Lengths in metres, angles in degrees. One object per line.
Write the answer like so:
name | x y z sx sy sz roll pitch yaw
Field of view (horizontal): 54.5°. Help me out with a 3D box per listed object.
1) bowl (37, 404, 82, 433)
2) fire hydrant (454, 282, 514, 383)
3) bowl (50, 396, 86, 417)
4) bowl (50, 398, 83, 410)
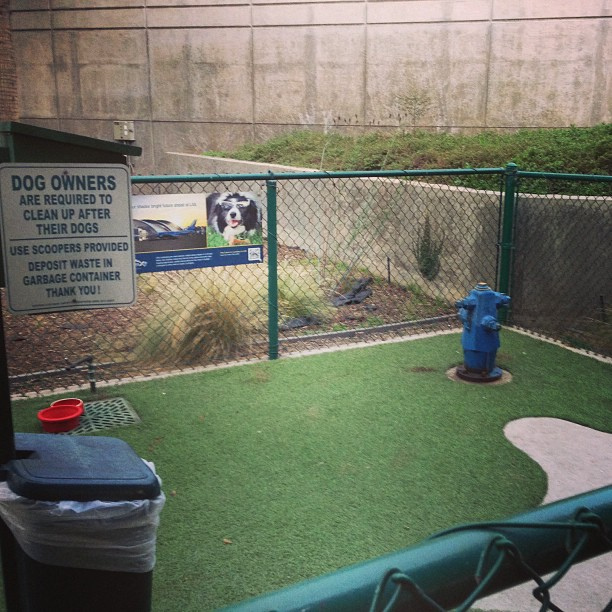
bowl | -1.721 0.792 4.195 0.256 0.072 0.198 -2 19 3
fire hydrant | 1.527 0.229 5.095 0.412 0.783 0.532 -15 3 -23
bowl | -1.738 0.720 4.369 0.232 0.066 0.186 0 7 24
bowl | -1.735 0.709 4.374 0.142 0.043 0.125 -2 4 28
